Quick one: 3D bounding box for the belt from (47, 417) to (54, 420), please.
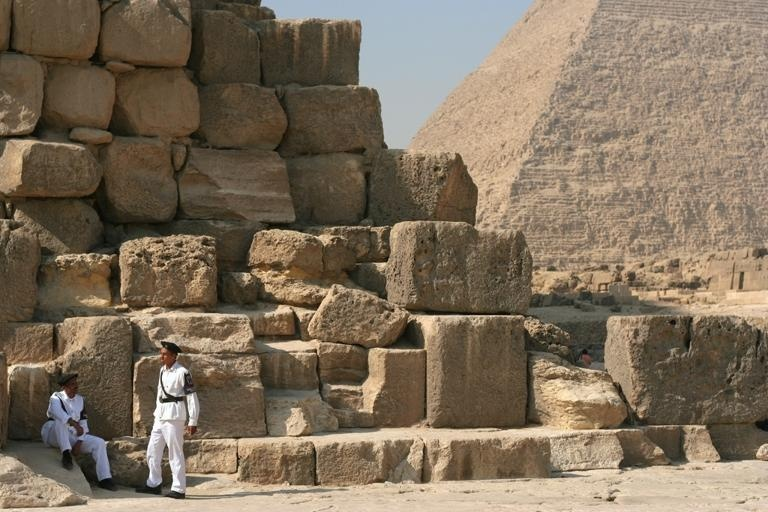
[{"bbox_3d":[-16.751,8.375,115.450,0.215,0.133,0.200,2,2,-7],"label":"belt"}]
